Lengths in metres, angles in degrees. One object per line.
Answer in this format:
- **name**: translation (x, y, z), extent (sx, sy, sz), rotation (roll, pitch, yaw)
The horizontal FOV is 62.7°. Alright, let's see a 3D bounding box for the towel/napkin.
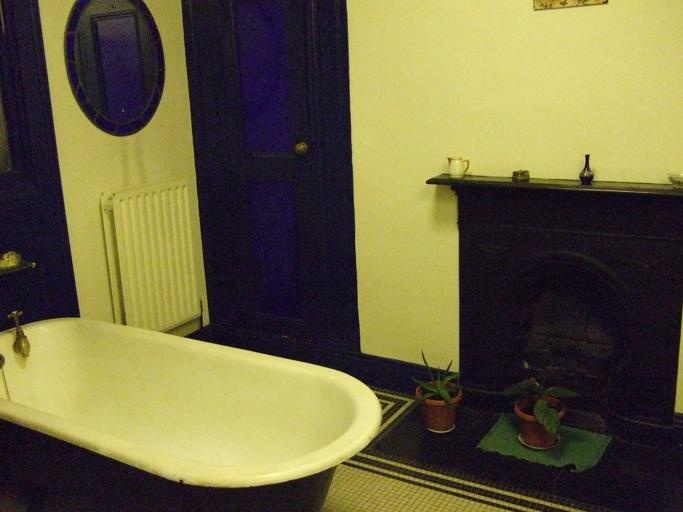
- **towel/napkin**: translation (1.031, 0.951, 2.854), extent (0.591, 0.041, 0.396), rotation (8, 16, 27)

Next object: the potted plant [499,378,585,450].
- **potted plant**: translation (1.004, 0.817, 2.825), extent (0.316, 0.316, 0.384), rotation (3, 7, 8)

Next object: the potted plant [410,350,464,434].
- **potted plant**: translation (0.530, 0.738, 3.087), extent (0.337, 0.436, 0.314), rotation (-1, 5, 13)

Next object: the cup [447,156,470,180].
- **cup**: translation (0.613, -0.465, 2.956), extent (0.118, 0.121, 0.089), rotation (2, 13, 14)

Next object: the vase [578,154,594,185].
- **vase**: translation (1.180, -0.415, 2.696), extent (0.065, 0.140, 0.148), rotation (6, 15, 24)

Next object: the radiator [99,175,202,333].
- **radiator**: translation (-1.171, 0.049, 3.621), extent (0.176, 1.032, 0.725), rotation (8, 16, 28)
